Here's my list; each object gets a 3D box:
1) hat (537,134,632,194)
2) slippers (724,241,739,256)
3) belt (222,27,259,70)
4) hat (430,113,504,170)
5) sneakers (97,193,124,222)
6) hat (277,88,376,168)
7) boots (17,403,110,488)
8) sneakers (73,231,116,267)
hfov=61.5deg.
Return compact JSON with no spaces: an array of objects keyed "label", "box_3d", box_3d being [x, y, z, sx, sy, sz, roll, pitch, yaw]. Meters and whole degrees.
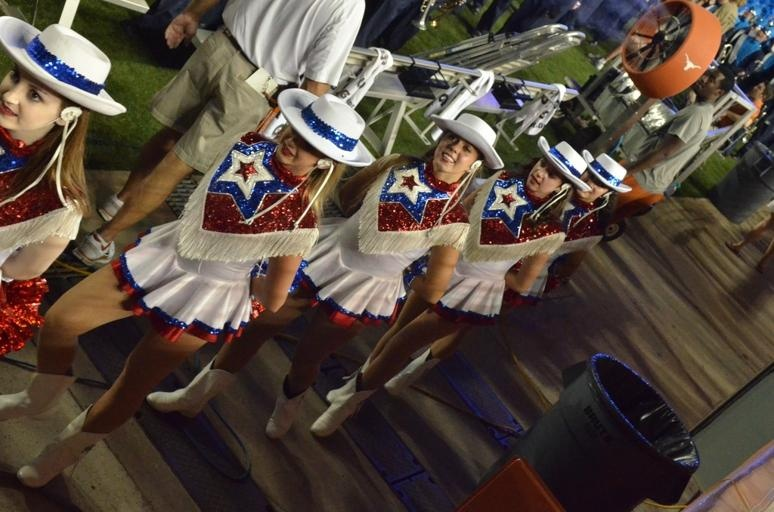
[{"label":"hat","box_3d":[1.313,-0.597,4.334,0.508,0.151,0.464,36,10,-44]},{"label":"slippers","box_3d":[4.111,-0.092,7.735,0.135,0.095,0.150,3,-46,16]},{"label":"belt","box_3d":[-0.903,-1.268,3.957,0.199,0.048,0.186,54,1,-6]},{"label":"hat","box_3d":[0.421,-0.646,3.608,0.295,0.101,0.324,48,-10,-28]},{"label":"sneakers","box_3d":[-1.814,-0.309,4.255,0.080,0.166,0.077,39,-18,2]},{"label":"hat","box_3d":[-0.315,-0.670,3.139,0.370,0.121,0.422,21,30,-44]},{"label":"boots","box_3d":[-1.643,0.966,3.262,0.134,0.433,0.172,42,-13,7]},{"label":"sneakers","box_3d":[-1.820,-0.045,4.017,0.143,0.141,0.321,59,15,0]}]
